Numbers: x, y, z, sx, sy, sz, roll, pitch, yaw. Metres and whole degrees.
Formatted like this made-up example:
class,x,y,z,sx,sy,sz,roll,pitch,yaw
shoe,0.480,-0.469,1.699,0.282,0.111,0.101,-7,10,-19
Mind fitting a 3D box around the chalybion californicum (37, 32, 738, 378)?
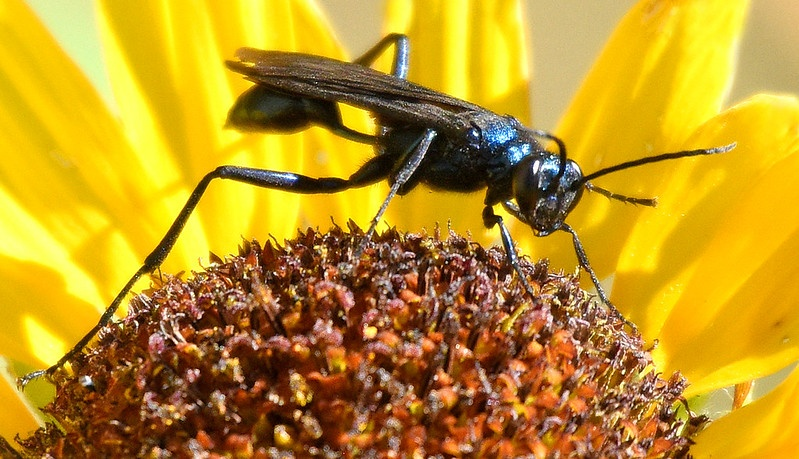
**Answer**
class,x,y,z,sx,sy,sz,roll,pitch,yaw
chalybion californicum,0.054,-0.287,2.869,1.075,1.562,2.453,2,1,-7
